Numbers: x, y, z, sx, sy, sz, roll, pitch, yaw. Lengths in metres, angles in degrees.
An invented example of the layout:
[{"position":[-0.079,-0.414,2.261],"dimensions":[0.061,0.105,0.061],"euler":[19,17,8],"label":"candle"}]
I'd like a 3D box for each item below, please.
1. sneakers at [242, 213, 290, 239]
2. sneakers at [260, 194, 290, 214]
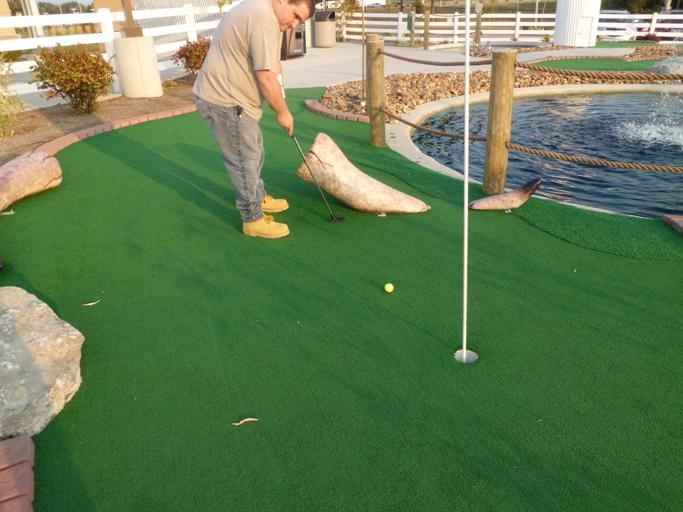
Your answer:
[{"position":[-0.688,-0.276,4.437],"dimensions":[0.433,0.167,0.188],"euler":[-2,28,-1],"label":"sneakers"},{"position":[-0.667,-0.514,4.904],"dimensions":[0.311,0.121,0.131],"euler":[-4,31,2],"label":"sneakers"}]
